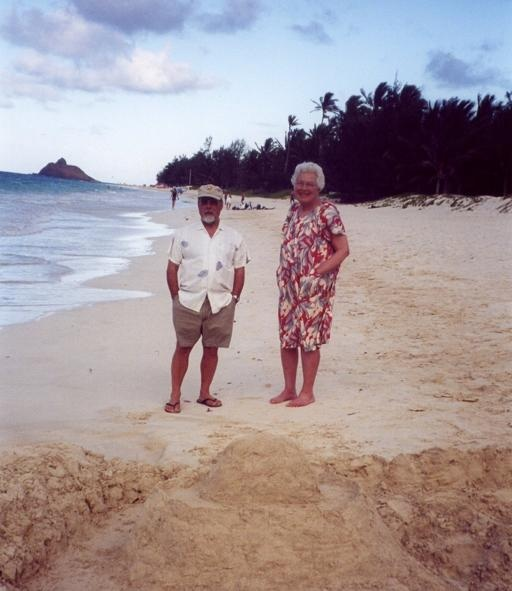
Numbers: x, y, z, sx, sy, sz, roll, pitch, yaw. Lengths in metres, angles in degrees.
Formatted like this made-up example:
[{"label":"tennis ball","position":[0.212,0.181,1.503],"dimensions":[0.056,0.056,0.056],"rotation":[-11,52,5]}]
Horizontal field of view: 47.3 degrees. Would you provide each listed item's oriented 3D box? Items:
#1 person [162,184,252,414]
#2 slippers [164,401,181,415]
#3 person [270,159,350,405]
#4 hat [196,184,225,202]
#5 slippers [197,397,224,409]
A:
[{"label":"person","position":[-0.364,0.027,4.259],"dimensions":[0.680,1.633,0.370],"rotation":[-3,10,-18]},{"label":"slippers","position":[-0.592,0.799,4.166],"dimensions":[0.110,0.059,0.116],"rotation":[-2,9,-9]},{"label":"person","position":[0.368,-0.059,4.216],"dimensions":[0.566,1.768,0.395],"rotation":[5,11,28]},{"label":"hat","position":[-0.317,-0.727,4.145],"dimensions":[0.172,0.118,0.231],"rotation":[-1,9,-5]},{"label":"slippers","position":[-0.343,0.803,4.355],"dimensions":[0.142,0.037,0.070],"rotation":[0,4,39]}]
